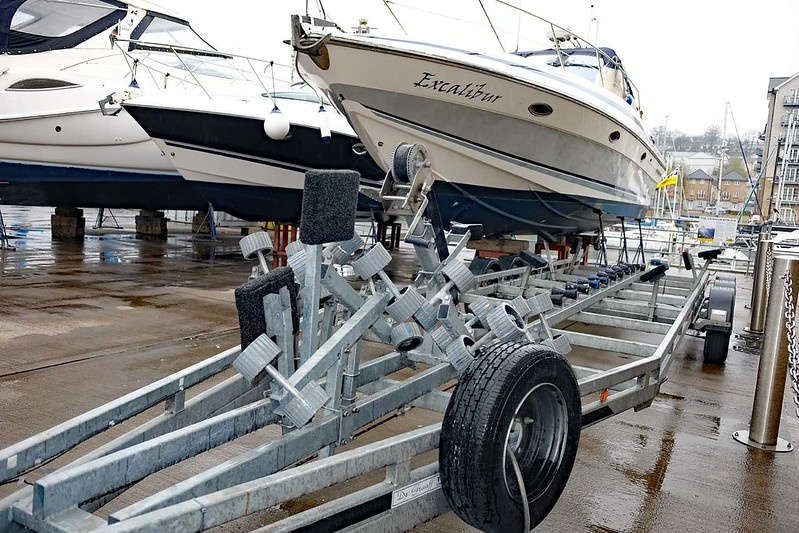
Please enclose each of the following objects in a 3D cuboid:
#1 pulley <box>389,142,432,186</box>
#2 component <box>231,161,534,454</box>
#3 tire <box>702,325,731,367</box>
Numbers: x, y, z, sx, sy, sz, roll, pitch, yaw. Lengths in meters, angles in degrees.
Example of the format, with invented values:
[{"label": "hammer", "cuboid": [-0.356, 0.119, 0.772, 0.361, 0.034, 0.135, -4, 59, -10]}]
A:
[{"label": "pulley", "cuboid": [0.081, -0.770, 4.049, 0.265, 0.296, 0.291, 13, 32, 36]}, {"label": "component", "cuboid": [-0.173, 0.073, 3.232, 0.941, 0.774, 1.811, 32, 22, 21]}, {"label": "tire", "cuboid": [3.386, 0.853, 5.829, 0.258, 0.356, 0.242, 6, 1, -44]}]
